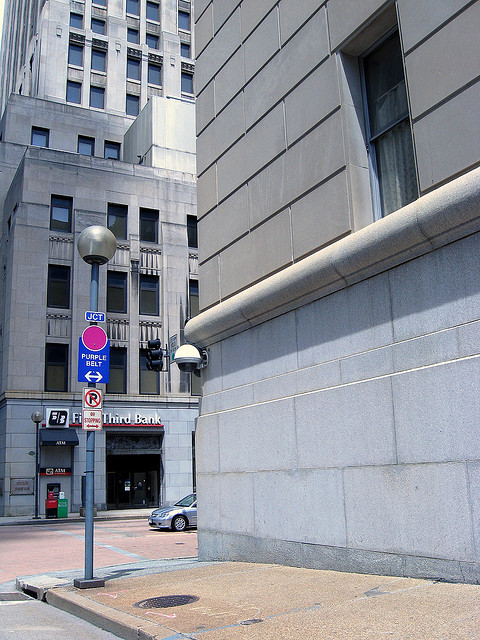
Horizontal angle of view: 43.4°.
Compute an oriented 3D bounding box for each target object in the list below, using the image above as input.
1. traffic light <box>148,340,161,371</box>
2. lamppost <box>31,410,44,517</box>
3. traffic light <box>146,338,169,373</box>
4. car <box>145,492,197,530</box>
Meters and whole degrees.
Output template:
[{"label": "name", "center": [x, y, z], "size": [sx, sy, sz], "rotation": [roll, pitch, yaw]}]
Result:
[{"label": "traffic light", "center": [-2.562, 0.930, 17.906], "size": [0.353, 0.888, 0.744], "rotation": [-2, -12, -9]}, {"label": "lamppost", "center": [-10.407, 7.351, 30.834], "size": [0.563, 6.124, 0.706], "rotation": [3, 8, 4]}, {"label": "traffic light", "center": [-2.603, 0.926, 18.315], "size": [0.461, 1.107, 1.562], "rotation": [-2, -13, -8]}, {"label": "car", "center": [-2.394, 7.091, 22.187], "size": [1.343, 0.920, 1.794], "rotation": [-17, -17, 40]}]
